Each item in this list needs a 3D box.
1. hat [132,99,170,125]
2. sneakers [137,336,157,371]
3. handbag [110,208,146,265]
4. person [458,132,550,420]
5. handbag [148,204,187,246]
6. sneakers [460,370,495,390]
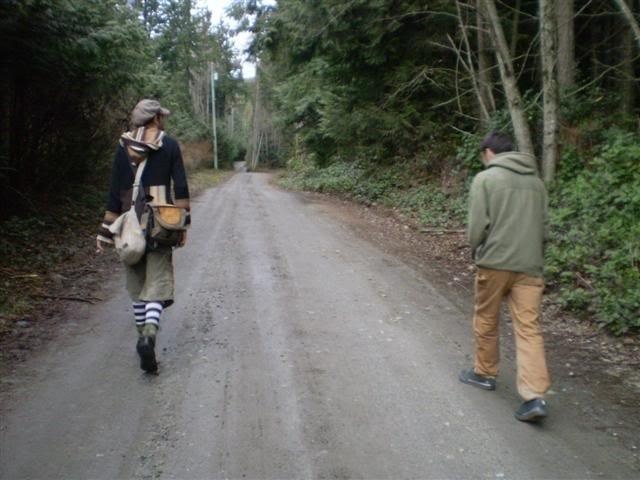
[{"bbox_3d":[-2.059,-1.518,6.502,0.289,0.231,0.431,28,46,30],"label":"hat"},{"bbox_3d":[-1.917,1.272,6.025,0.161,0.463,0.205,-2,10,-5],"label":"sneakers"},{"bbox_3d":[-2.250,-0.052,6.267,0.447,0.711,0.329,8,15,-11],"label":"handbag"},{"bbox_3d":[2.107,0.450,5.877,1.060,2.729,0.760,11,15,38],"label":"person"},{"bbox_3d":[-1.838,-0.182,6.362,0.494,0.518,0.325,5,0,-40],"label":"handbag"},{"bbox_3d":[1.796,1.599,6.094,0.346,0.156,0.164,21,5,34],"label":"sneakers"}]
